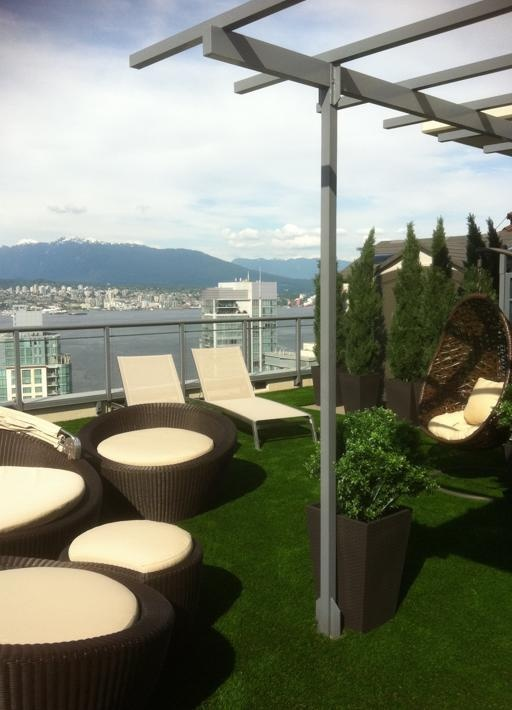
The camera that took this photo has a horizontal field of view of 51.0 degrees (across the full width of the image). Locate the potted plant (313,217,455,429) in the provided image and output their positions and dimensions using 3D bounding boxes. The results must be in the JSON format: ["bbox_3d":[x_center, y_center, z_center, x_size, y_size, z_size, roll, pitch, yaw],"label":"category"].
[{"bbox_3d":[1.685,-0.427,6.223,1.257,2.266,1.305,1,3,14],"label":"potted plant"}]

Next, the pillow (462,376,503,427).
[{"bbox_3d":[1.769,0.371,4.203,0.094,0.291,0.314,21,10,-1],"label":"pillow"}]

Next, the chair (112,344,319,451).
[{"bbox_3d":[-0.495,0.498,5.144,1.101,0.565,1.370,-4,7,-28],"label":"chair"}]

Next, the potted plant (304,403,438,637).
[{"bbox_3d":[0.455,0.642,2.168,0.485,0.805,0.386,-2,3,-27],"label":"potted plant"}]
